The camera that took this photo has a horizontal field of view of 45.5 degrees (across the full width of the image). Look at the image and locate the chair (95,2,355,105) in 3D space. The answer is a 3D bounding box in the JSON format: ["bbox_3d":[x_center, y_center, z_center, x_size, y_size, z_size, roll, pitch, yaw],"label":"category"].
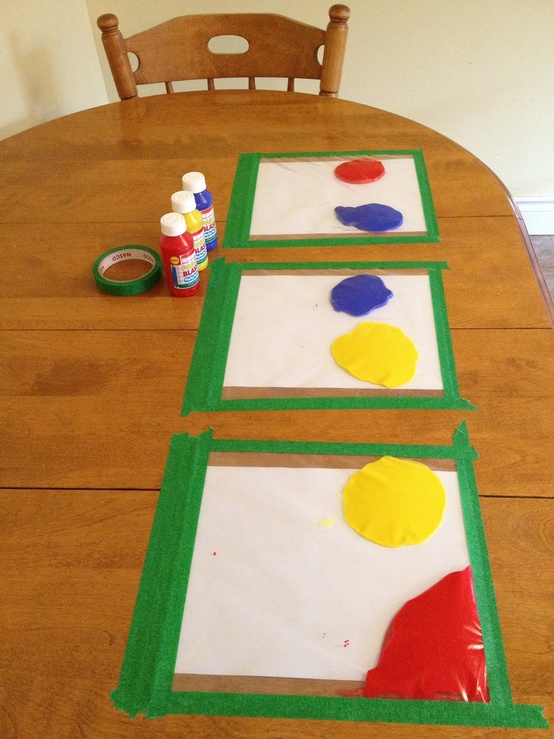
[{"bbox_3d":[-0.103,-0.678,1.376,0.488,0.193,0.203,0,47,1],"label":"chair"}]
